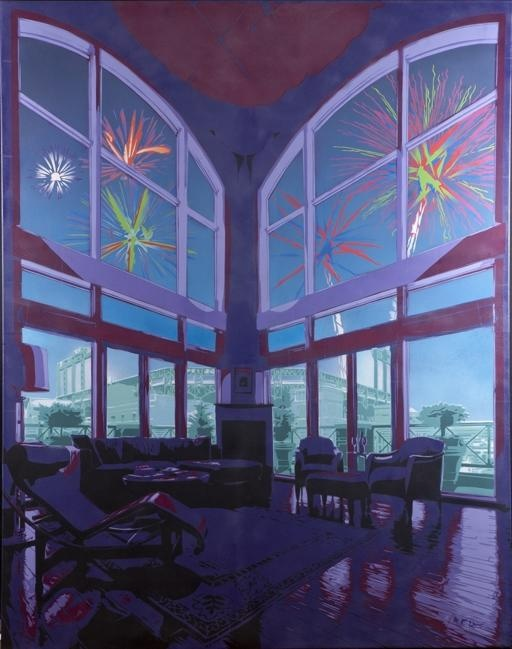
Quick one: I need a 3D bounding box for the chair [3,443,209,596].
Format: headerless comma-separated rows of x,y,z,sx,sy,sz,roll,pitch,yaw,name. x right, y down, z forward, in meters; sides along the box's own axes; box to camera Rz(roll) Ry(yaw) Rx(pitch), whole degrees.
-1.149,1.349,3.959,1.341,1.044,0.882,-3,-5,-5,chair
